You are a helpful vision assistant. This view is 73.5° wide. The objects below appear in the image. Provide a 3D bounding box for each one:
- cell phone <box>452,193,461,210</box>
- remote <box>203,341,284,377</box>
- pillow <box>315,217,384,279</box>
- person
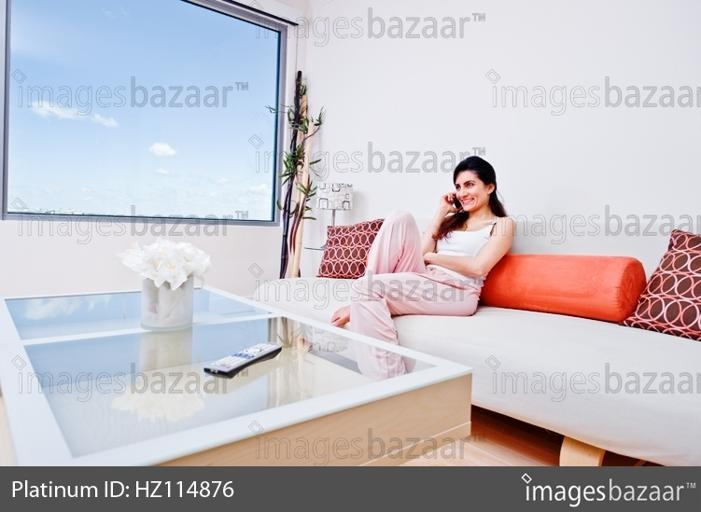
[{"bbox_3d":[0.656,-0.340,2.868,0.027,0.084,0.085,-10,4,8],"label":"cell phone"},{"bbox_3d":[-0.326,0.291,1.432,0.070,0.029,0.209,2,9,30],"label":"remote"},{"bbox_3d":[0.007,-0.067,3.340,0.496,0.363,0.195,-7,-40,43],"label":"pillow"},{"bbox_3d":[0.408,0.088,2.556,0.746,1.403,0.525,16,-3,-14],"label":"person"}]
